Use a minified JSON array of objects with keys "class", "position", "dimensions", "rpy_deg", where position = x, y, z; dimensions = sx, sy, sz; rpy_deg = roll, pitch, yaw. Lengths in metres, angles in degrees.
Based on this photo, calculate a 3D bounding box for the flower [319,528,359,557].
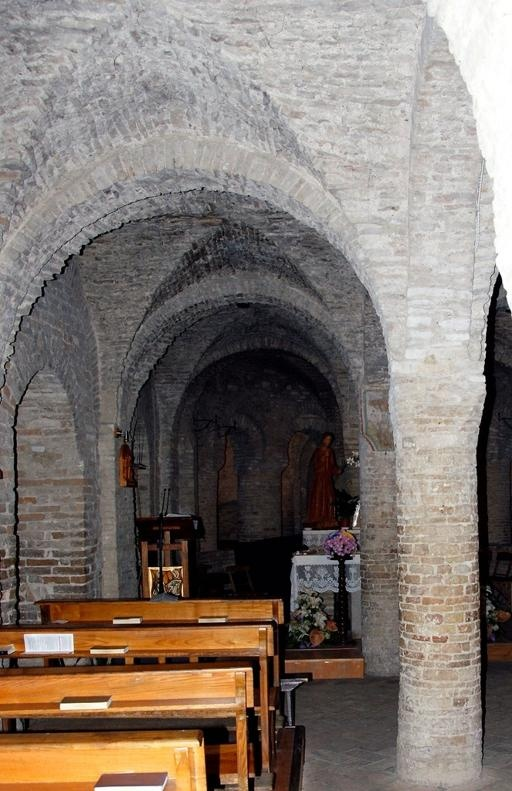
[{"class":"flower","position":[0.939,1.621,12.645],"dimensions":[0.324,0.279,0.329],"rpy_deg":[-5,-10,40]}]

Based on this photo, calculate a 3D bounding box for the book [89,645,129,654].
[{"class":"book","position":[-1.007,1.748,7.830],"dimensions":[0.256,0.064,0.219],"rpy_deg":[-2,-10,-3]}]

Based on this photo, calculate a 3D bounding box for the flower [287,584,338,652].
[{"class":"flower","position":[0.484,2.336,11.894],"dimensions":[0.471,0.588,0.481],"rpy_deg":[3,8,17]}]

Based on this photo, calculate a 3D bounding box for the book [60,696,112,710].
[{"class":"book","position":[-0.932,1.688,6.264],"dimensions":[0.274,0.067,0.172],"rpy_deg":[-1,-10,-6]}]

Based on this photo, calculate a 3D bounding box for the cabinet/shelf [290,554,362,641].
[{"class":"cabinet/shelf","position":[0.811,2.411,13.729],"dimensions":[1.281,1.165,0.964],"rpy_deg":[0,-10,1]}]

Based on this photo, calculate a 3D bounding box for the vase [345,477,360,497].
[{"class":"vase","position":[1.401,1.320,16.908],"dimensions":[0.214,0.318,0.383],"rpy_deg":[-4,-10,9]}]
